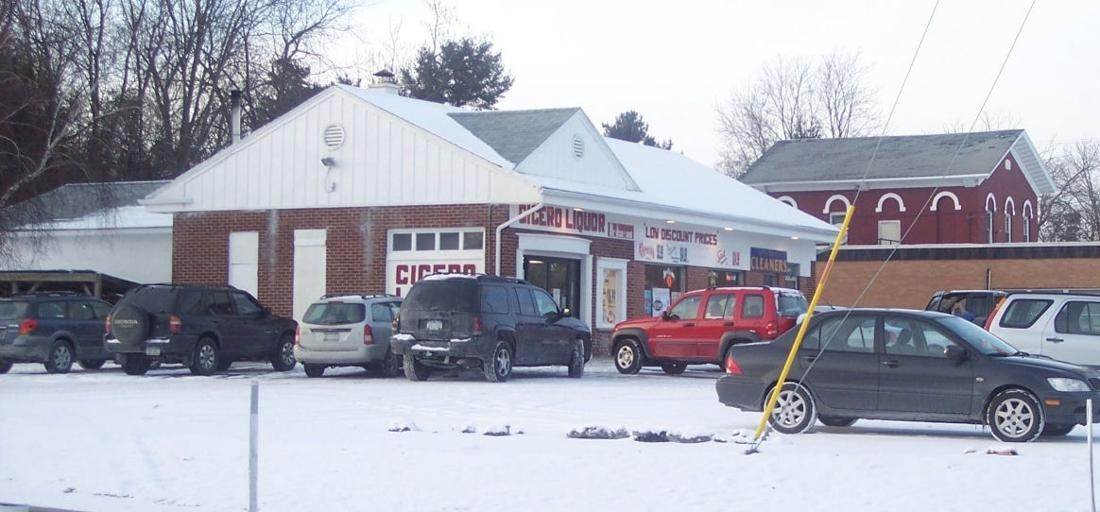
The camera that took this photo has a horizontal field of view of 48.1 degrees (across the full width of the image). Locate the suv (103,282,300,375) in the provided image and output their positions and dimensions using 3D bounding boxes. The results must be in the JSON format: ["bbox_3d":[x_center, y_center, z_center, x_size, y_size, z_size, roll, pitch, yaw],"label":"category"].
[{"bbox_3d":[-13.583,2.847,51.019,3.734,2.567,7.381,0,1,37],"label":"suv"}]
